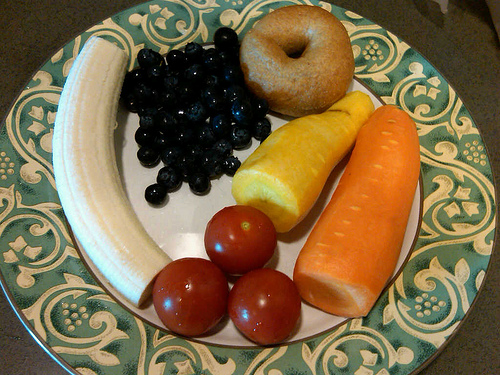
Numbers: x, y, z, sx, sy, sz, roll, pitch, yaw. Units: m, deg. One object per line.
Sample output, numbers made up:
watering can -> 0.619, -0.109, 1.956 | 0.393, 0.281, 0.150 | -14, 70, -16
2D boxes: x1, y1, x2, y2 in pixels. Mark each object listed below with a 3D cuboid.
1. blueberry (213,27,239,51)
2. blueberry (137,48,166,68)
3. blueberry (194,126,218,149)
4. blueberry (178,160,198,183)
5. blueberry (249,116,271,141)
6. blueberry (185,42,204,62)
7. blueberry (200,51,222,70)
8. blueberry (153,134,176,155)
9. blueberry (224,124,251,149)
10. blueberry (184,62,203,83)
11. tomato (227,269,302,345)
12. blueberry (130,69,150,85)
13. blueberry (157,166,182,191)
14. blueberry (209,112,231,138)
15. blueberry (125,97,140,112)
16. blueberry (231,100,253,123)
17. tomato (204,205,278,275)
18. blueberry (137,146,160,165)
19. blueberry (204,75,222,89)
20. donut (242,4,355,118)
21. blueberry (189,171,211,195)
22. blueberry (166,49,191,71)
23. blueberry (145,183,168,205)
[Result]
blueberry -> -0.075, -0.449, 1.597 | 0.059, 0.066, 0.080 | 3, 120, 10
blueberry -> -0.295, -0.383, 1.572 | 0.041, 0.082, 0.044 | -32, 88, 22
blueberry -> -0.134, -0.146, 1.547 | 0.057, 0.033, 0.066 | -1, 84, -3
blueberry -> -0.177, -0.054, 1.531 | 0.050, 0.051, 0.055 | -1, 52, -10
blueberry -> 0.030, -0.173, 1.575 | 0.055, 0.031, 0.064 | 3, 86, -8
blueberry -> -0.170, -0.410, 1.589 | 0.047, 0.060, 0.053 | 0, 61, -2
blueberry -> -0.121, -0.375, 1.607 | 0.049, 0.053, 0.063 | 7, 43, -25
blueberry -> -0.258, -0.130, 1.547 | 0.053, 0.032, 0.060 | -7, 64, -8
blueberry -> -0.034, -0.151, 1.555 | 0.062, 0.035, 0.070 | -7, 76, -7
blueberry -> -0.169, -0.338, 1.565 | 0.053, 0.031, 0.061 | -1, 79, 7
tomato -> 0.038, 0.322, 1.429 | 0.205, 0.193, 0.221 | 6, 89, -22
blueberry -> -0.337, -0.330, 1.585 | 0.033, 0.073, 0.040 | -7, 95, 0
blueberry -> -0.234, -0.030, 1.523 | 0.060, 0.034, 0.068 | 10, 69, -5
blueberry -> -0.088, -0.183, 1.537 | 0.053, 0.041, 0.079 | -1, 87, 1
blueberry -> -0.358, -0.250, 1.595 | 0.033, 0.015, 0.038 | 5, 99, 1
blueberry -> -0.024, -0.216, 1.527 | 0.054, 0.033, 0.062 | -2, 91, -2
tomato -> -0.013, 0.151, 1.503 | 0.220, 0.249, 0.192 | 8, 79, -6
blueberry -> -0.301, -0.094, 1.537 | 0.047, 0.028, 0.054 | -1, 90, -5
blueberry -> -0.111, -0.310, 1.556 | 0.039, 0.022, 0.043 | -23, 80, -7
donut -> 0.138, -0.379, 1.568 | 0.307, 0.138, 0.322 | -41, 81, -6
blueberry -> -0.151, -0.005, 1.547 | 0.074, 0.072, 0.050 | -25, 72, 27
blueberry -> -0.219, -0.383, 1.591 | 0.051, 0.073, 0.044 | 8, 88, 9
blueberry -> -0.273, 0.021, 1.511 | 0.053, 0.031, 0.061 | 3, 74, -14
